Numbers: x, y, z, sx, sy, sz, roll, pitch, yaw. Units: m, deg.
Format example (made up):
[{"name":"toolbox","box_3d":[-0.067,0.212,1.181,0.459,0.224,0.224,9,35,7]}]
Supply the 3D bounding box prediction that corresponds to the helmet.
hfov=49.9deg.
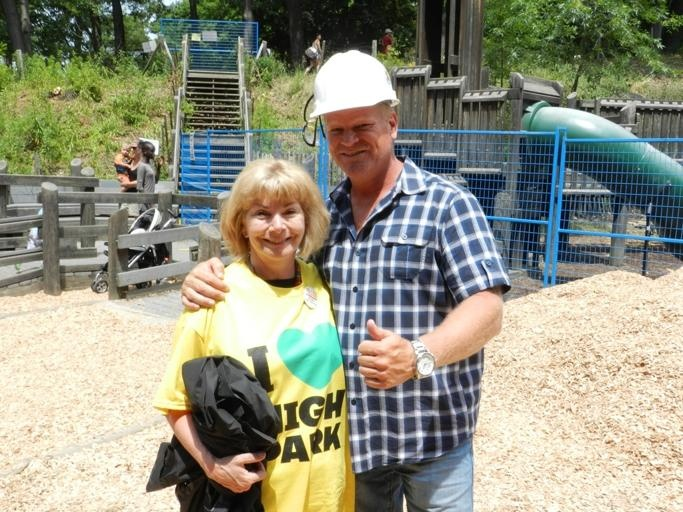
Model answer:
[{"name":"helmet","box_3d":[0.066,-1.137,4.881,0.393,0.283,0.528,-2,8,20]}]
